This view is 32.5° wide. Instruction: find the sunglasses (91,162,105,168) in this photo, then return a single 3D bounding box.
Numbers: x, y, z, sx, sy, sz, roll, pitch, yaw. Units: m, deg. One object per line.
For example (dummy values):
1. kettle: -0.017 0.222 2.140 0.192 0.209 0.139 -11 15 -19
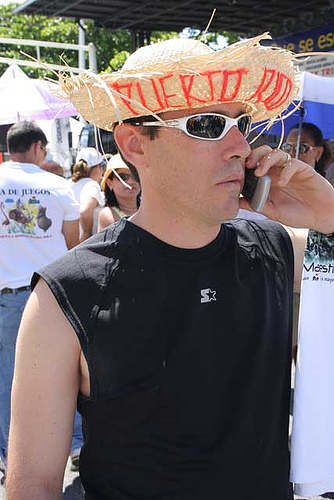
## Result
1. sunglasses: -0.797 -1.028 6.807 0.106 0.043 0.079 -39 22 -19
